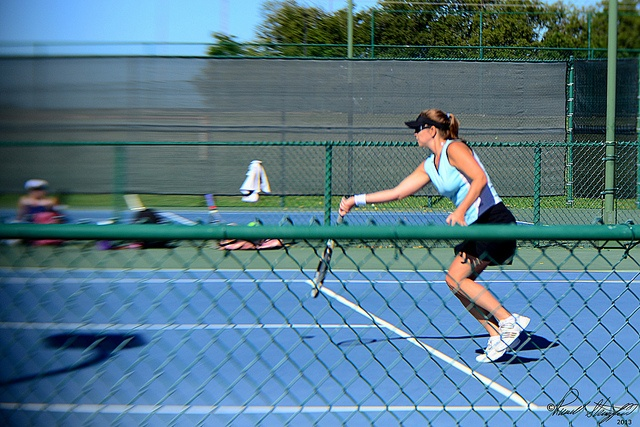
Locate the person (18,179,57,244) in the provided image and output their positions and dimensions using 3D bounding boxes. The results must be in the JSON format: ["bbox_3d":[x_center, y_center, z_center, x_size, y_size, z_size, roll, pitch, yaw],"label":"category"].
[{"bbox_3d":[-5.692,-0.087,15.550,0.907,1.257,0.824,2,6,13],"label":"person"}]

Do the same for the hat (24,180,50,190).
[{"bbox_3d":[-5.941,-0.613,16.100,0.329,0.100,0.332,4,7,38],"label":"hat"}]

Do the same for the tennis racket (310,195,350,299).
[{"bbox_3d":[0.038,0.535,9.788,0.242,1.617,0.186,20,23,-4],"label":"tennis racket"}]

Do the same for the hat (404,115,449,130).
[{"bbox_3d":[1.511,-1.276,10.902,0.446,0.128,0.272,7,-2,9],"label":"hat"}]

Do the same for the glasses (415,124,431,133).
[{"bbox_3d":[1.442,-1.210,10.880,0.152,0.040,0.115,-10,0,-1],"label":"glasses"}]
